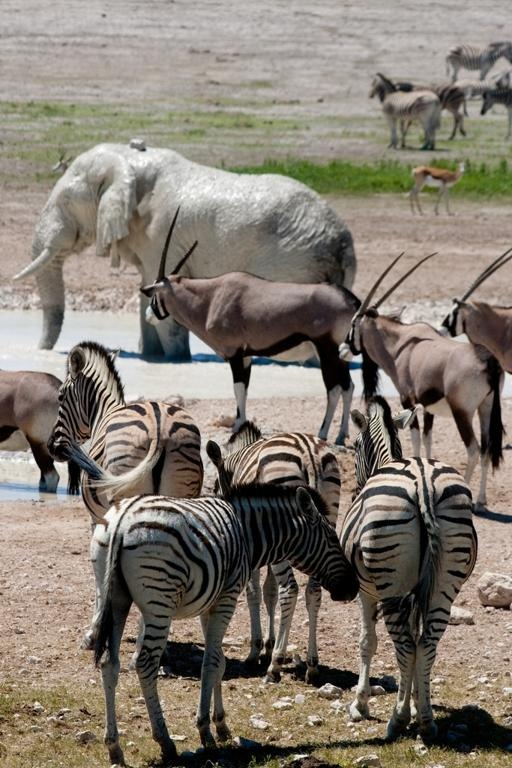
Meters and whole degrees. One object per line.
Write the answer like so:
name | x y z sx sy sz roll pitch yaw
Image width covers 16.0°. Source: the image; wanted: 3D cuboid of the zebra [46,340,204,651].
zebra | -0.811 0.618 10.494 0.440 1.725 1.667 4 -2 -25

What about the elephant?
elephant | -0.734 -1.242 17.128 3.640 3.439 1.247 11 16 31

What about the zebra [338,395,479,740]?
zebra | 0.768 0.911 9.845 0.661 1.463 1.648 -1 11 -5

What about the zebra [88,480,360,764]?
zebra | -0.322 0.943 9.888 0.587 2.319 2.083 5 7 43

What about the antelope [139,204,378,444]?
antelope | 0.036 -0.530 13.963 1.106 1.930 1.881 4 20 17

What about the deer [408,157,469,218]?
deer | 2.140 -2.286 21.536 0.662 0.702 1.453 1 12 6
